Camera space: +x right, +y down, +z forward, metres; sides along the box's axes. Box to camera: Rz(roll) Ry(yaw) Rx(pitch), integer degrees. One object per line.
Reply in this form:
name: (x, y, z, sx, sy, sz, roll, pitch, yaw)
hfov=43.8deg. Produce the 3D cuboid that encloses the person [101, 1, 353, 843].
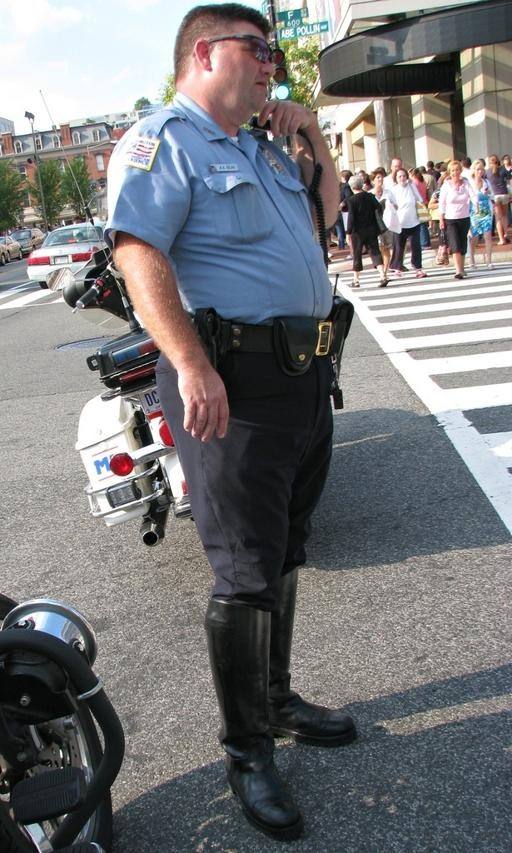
person: (-0.015, -0.080, 1.704, 0.405, 2.050, 0.755, -4, 8, 28)

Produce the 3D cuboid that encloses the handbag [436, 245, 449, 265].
handbag: (4.189, -3.824, 14.173, 0.258, 0.415, 0.130, -3, 0, -9)

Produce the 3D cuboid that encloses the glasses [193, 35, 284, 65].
glasses: (-0.014, -0.973, 1.632, 0.149, 0.046, 0.157, -2, 25, -8)

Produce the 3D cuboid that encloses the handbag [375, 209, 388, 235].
handbag: (2.372, -3.826, 12.006, 0.177, 0.520, 0.274, -6, 8, 16)

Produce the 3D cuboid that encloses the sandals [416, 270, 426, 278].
sandals: (3.387, -3.103, 12.979, 0.214, 0.217, 0.127, 3, 16, 21)
